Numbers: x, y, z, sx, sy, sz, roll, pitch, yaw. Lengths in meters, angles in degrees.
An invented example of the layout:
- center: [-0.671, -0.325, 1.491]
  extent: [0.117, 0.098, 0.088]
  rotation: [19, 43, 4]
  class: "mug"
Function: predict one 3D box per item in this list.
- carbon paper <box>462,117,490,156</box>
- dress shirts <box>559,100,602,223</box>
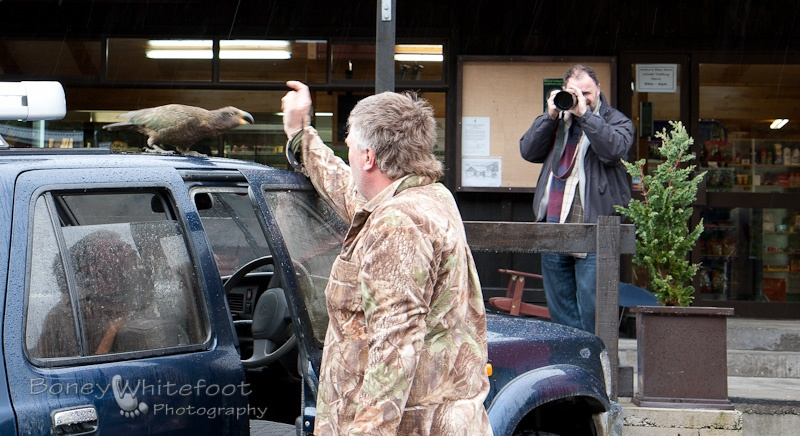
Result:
- center: [1.079, -1.196, 15.829]
  extent: [0.531, 0.714, 0.056]
  rotation: [-1, 5, 1]
  class: "carbon paper"
- center: [2.145, -0.676, 12.685]
  extent: [0.359, 1.408, 0.369]
  rotation: [-5, -8, -40]
  class: "dress shirts"
